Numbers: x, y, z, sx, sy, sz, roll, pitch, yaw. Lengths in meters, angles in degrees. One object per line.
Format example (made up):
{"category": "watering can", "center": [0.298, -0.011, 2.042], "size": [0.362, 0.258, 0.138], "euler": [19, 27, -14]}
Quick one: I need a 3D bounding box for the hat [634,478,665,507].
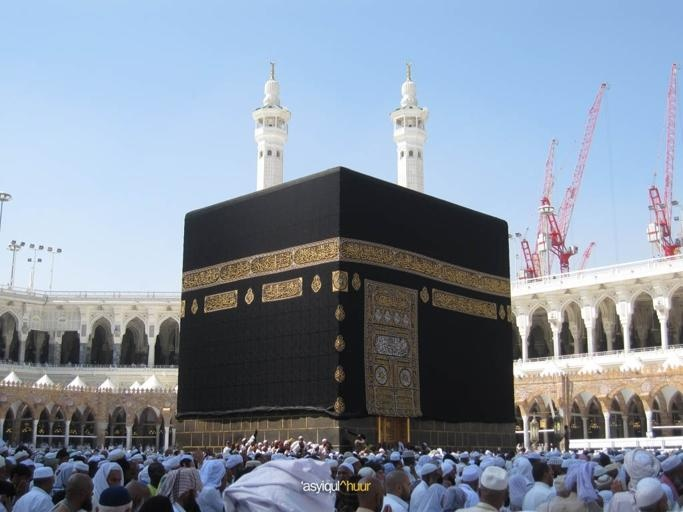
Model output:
{"category": "hat", "center": [3.008, 2.306, 8.569], "size": [0.224, 0.267, 0.285], "euler": [-25, -24, 23]}

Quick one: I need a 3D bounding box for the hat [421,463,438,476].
{"category": "hat", "center": [1.135, 2.763, 11.315], "size": [0.152, 0.042, 0.152], "euler": [-3, -2, -33]}

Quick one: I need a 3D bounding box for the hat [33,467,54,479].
{"category": "hat", "center": [-3.607, 2.616, 10.488], "size": [0.171, 0.104, 0.178], "euler": [-6, -9, 12]}

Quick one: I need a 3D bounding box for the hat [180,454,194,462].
{"category": "hat", "center": [-1.973, 2.581, 11.086], "size": [0.121, 0.126, 0.089], "euler": [-9, 5, -36]}

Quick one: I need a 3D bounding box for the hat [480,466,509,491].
{"category": "hat", "center": [1.578, 2.297, 9.016], "size": [0.267, 0.220, 0.216], "euler": [2, -4, 15]}

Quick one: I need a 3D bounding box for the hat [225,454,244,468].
{"category": "hat", "center": [-1.404, 2.660, 11.315], "size": [0.277, 0.154, 0.407], "euler": [2, -9, -10]}
